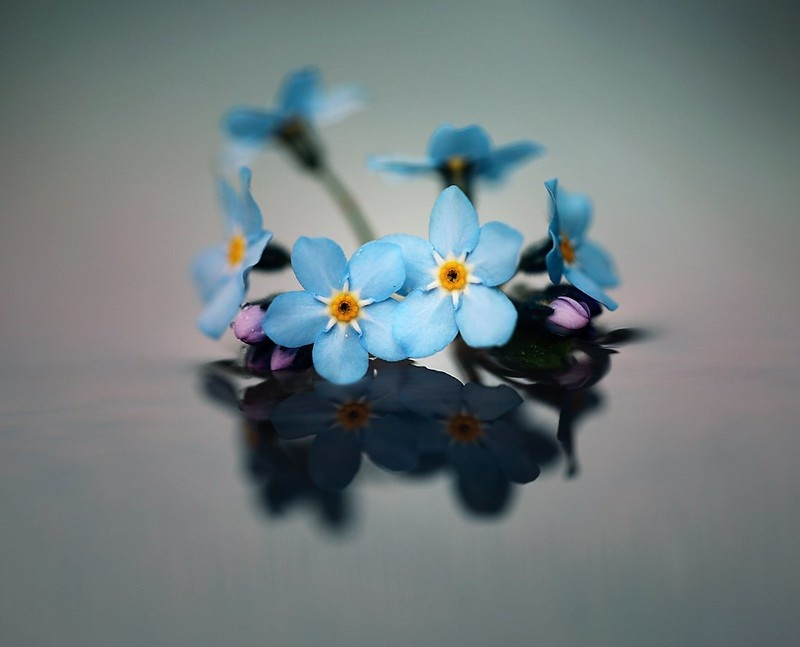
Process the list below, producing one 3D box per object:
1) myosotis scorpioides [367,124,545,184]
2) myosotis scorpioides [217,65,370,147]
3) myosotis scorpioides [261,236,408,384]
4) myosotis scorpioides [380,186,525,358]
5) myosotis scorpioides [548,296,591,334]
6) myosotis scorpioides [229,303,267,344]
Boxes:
[{"bbox_3d":[0.108,-0.333,1.548,0.342,0.150,0.203,-2,22,-4],"label":"myosotis scorpioides"},{"bbox_3d":[-0.197,-0.415,1.472,0.283,0.145,0.158,-6,23,-13],"label":"myosotis scorpioides"},{"bbox_3d":[-0.101,-0.036,1.319,0.244,0.276,0.047,-3,49,0],"label":"myosotis scorpioides"},{"bbox_3d":[0.097,-0.086,1.284,0.200,0.248,0.145,2,22,9],"label":"myosotis scorpioides"},{"bbox_3d":[0.302,-0.018,1.378,0.070,0.051,0.067,8,24,22],"label":"myosotis scorpioides"},{"bbox_3d":[-0.262,0.001,1.354,0.052,0.056,0.069,-21,-7,12],"label":"myosotis scorpioides"}]
